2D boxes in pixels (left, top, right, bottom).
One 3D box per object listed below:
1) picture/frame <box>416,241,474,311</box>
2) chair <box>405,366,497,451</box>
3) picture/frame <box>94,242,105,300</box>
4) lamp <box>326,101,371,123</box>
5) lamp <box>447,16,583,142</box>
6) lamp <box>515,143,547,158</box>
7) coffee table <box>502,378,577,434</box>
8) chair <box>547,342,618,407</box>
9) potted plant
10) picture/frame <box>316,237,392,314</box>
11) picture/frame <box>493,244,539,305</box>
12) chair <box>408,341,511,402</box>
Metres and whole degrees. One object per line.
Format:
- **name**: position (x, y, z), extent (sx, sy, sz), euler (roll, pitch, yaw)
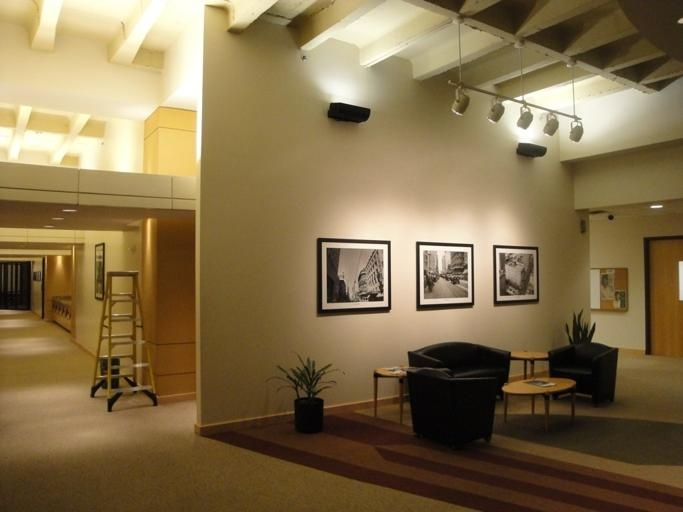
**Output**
- **picture/frame**: position (1.713, 0.353, 8.926), extent (1.041, 1.081, 0.039), euler (4, -7, -40)
- **chair**: position (1.428, 1.956, 6.928), extent (0.990, 1.007, 1.124), euler (2, -4, -14)
- **picture/frame**: position (-5.496, 0.370, 11.959), extent (0.053, 1.517, 1.208), euler (-1, -1, -30)
- **lamp**: position (0.139, -2.152, 7.943), extent (0.693, 0.279, 0.230), euler (-3, 5, -31)
- **lamp**: position (2.926, -2.696, 8.863), extent (1.882, 1.440, 3.650), euler (3, 5, 33)
- **lamp**: position (3.688, -2.013, 10.099), extent (0.762, 0.253, 0.234), euler (-3, 5, -34)
- **coffee table**: position (2.679, 1.847, 7.290), extent (0.700, 0.438, 1.034), euler (-7, -8, 43)
- **chair**: position (4.016, 1.903, 8.702), extent (0.918, 0.909, 0.881), euler (-4, -6, 45)
- **potted plant**: position (-0.580, 1.864, 7.391), extent (0.799, 0.968, 0.897), euler (1, -2, 3)
- **picture/frame**: position (0.132, 0.301, 7.971), extent (1.038, 1.091, 0.043), euler (-1, 1, -34)
- **picture/frame**: position (3.238, 0.353, 9.882), extent (1.015, 1.058, 0.042), euler (4, -9, -43)
- **chair**: position (1.872, 1.844, 8.276), extent (1.452, 0.982, 0.875), euler (-1, -7, -26)
